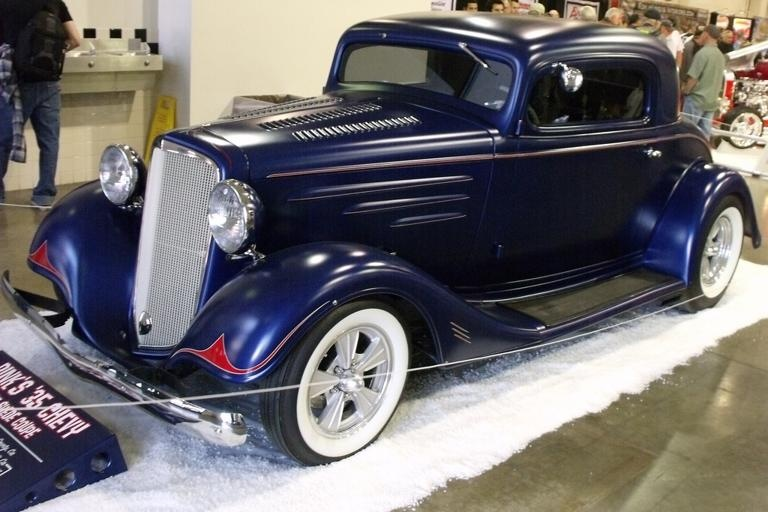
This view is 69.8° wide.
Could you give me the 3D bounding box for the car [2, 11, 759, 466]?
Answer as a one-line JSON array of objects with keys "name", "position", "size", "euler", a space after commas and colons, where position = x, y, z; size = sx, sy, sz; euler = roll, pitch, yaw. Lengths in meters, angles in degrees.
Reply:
[{"name": "car", "position": [0.121, -0.380, 3.233], "size": [4.110, 2.045, 1.772], "euler": [-10, 26, -32]}]
